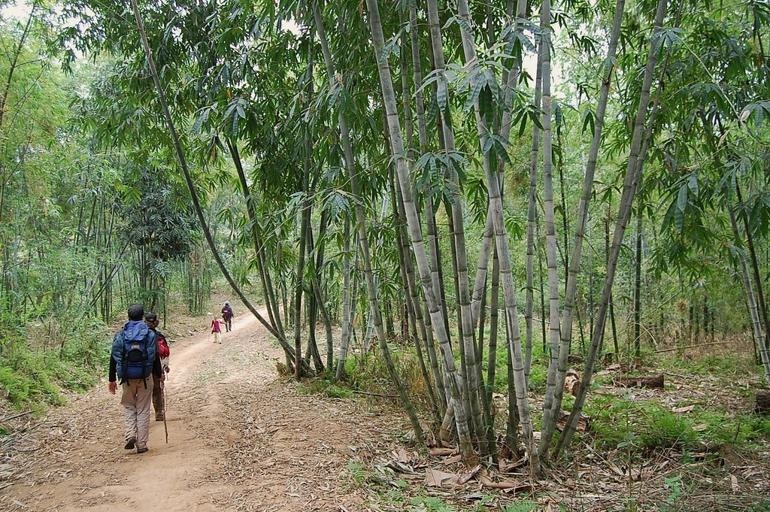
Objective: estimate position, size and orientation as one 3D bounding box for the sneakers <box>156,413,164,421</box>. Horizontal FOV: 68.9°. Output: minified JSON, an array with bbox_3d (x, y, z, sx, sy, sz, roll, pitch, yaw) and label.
[{"bbox_3d":[-2.882,2.064,7.175,0.118,0.113,0.074,1,-1,-16],"label":"sneakers"}]

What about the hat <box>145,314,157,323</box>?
[{"bbox_3d":[-2.928,0.772,7.022,0.102,0.124,0.130,12,13,18],"label":"hat"}]

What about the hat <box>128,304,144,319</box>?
[{"bbox_3d":[-2.942,0.649,6.558,0.156,0.185,0.194,0,18,-16],"label":"hat"}]

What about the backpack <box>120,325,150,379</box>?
[{"bbox_3d":[-2.883,1.093,6.455,0.322,0.635,0.255,-4,14,-7],"label":"backpack"}]
